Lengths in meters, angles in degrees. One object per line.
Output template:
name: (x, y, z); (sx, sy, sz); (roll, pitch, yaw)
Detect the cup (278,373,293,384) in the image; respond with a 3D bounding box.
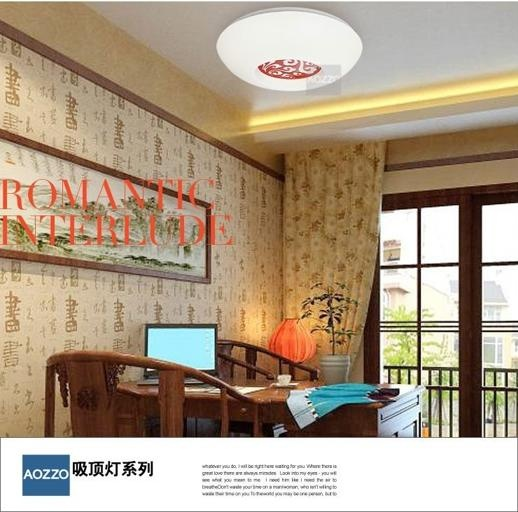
cup: (0.140, 0.682, 2.524); (0.105, 0.060, 0.089); (-1, -6, 3)

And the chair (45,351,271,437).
chair: (-0.411, 0.506, 1.632); (0.711, 0.327, 0.374); (-1, 0, -15)

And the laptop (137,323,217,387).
laptop: (-0.496, 0.512, 2.704); (0.618, 0.382, 0.314); (2, -8, -14)

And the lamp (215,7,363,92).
lamp: (0.197, -1.254, 2.815); (0.851, 0.164, 0.755); (-1, 0, -33)

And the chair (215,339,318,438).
chair: (0.095, 0.966, 3.493); (0.611, 0.819, 0.681); (-9, -13, 35)

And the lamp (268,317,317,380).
lamp: (0.276, 0.730, 3.784); (0.409, 0.330, 0.385); (1, -6, -11)
